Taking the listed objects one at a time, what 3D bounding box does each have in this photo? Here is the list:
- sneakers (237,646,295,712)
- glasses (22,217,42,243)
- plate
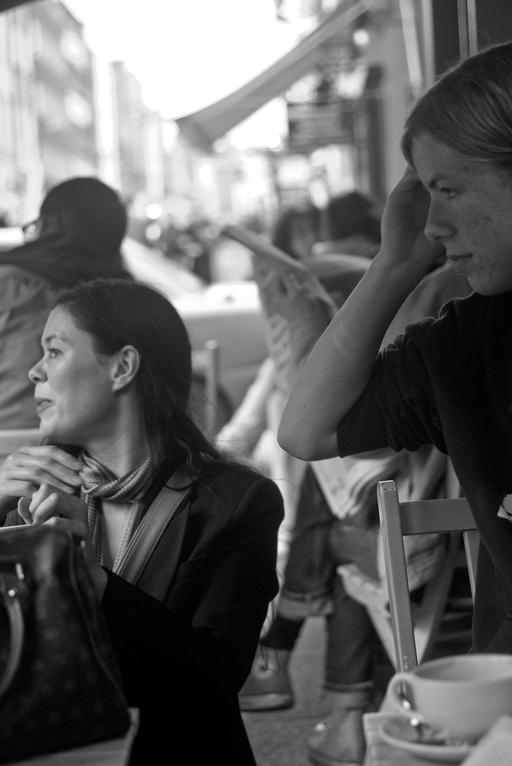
[{"bbox_3d":[0.019,0.562,1.515,0.139,0.112,0.049,-7,6,-12],"label":"sneakers"},{"bbox_3d":[-0.413,-0.281,1.489,0.038,0.040,0.019,3,25,-31],"label":"glasses"},{"bbox_3d":[0.105,0.213,0.498,0.046,0.009,0.040,2,-3,-4],"label":"plate"}]
